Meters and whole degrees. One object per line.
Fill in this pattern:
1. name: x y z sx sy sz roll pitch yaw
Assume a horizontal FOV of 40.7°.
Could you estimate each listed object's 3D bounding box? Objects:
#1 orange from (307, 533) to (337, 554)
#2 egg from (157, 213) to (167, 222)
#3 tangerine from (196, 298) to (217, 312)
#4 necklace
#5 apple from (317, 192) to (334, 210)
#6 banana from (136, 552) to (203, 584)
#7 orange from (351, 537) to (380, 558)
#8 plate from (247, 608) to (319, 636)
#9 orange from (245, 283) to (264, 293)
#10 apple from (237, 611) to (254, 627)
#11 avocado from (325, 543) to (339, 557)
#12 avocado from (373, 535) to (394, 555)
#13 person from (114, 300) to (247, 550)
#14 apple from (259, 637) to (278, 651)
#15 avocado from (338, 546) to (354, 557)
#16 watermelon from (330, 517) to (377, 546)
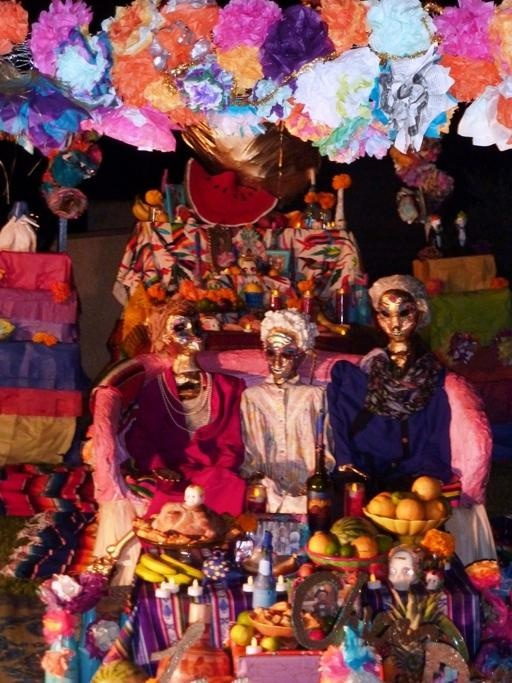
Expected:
1. orange: 0.226 0.659 2.240 0.078 0.073 0.066 6 -22 19
2. egg: -0.849 -1.127 6.272 0.098 0.086 0.086 2 7 12
3. tangerine: -0.394 -0.283 5.477 0.123 0.067 0.132 5 5 -2
4. necklace: -0.310 0.269 3.229 0.258 0.264 0.077 -10 -5 -4
5. apple: 0.684 -1.361 6.657 0.220 0.165 0.076 4 -12 -10
6. banana: -0.286 0.725 2.197 0.139 0.033 0.119 6 10 -4
7. orange: 0.346 0.654 2.211 0.080 0.068 0.066 0 5 -2
8. plate: 0.084 0.793 1.947 0.195 0.059 0.173 3 -4 1
9. orange: -0.010 -0.450 5.873 0.116 0.086 0.111 3 -2 -42
10. apple: -0.030 0.817 2.030 0.049 0.035 0.041 9 3 -6
11. avocado: 0.247 0.661 2.192 0.043 0.038 0.038 3 -1 -1
12. avocado: 0.426 0.668 2.273 0.061 0.055 0.053 0 4 -1
13. person: -0.316 0.428 3.250 0.797 1.092 0.659 0 10 -16
14. apple: 0.040 0.844 1.930 0.045 0.031 0.037 2 -18 -4
15. avocado: 0.284 0.660 2.186 0.044 0.038 0.037 0 2 2
16. watermelon: 0.328 0.630 2.303 0.120 0.068 0.078 -3 4 -13
